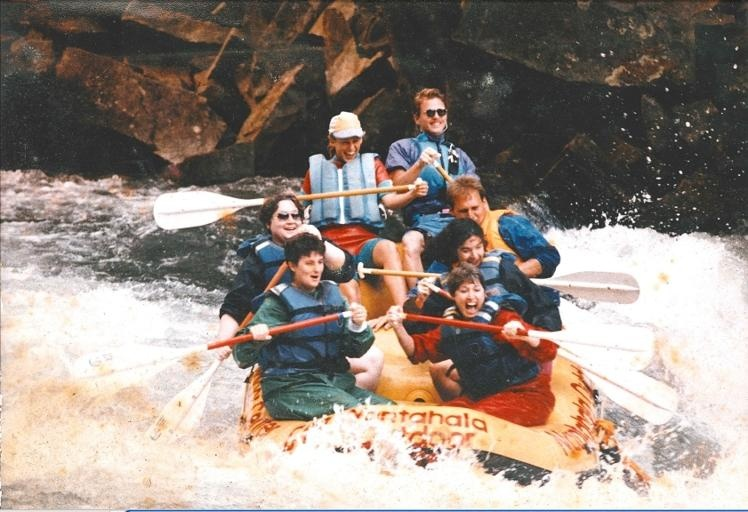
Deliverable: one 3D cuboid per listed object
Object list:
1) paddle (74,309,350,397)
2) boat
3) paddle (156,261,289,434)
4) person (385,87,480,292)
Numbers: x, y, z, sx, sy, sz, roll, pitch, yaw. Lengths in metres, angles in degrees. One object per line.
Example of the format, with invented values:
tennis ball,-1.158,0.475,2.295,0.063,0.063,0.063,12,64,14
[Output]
paddle,-1.094,0.708,6.217,2.692,0.106,0.310,-11,80,8
boat,0.577,0.769,5.926,1.846,0.611,1.348,9,34,3
paddle,-1.067,0.698,6.229,0.221,0.069,1.505,41,100,23
person,0.474,-0.348,6.424,0.725,0.604,1.823,8,76,-41
